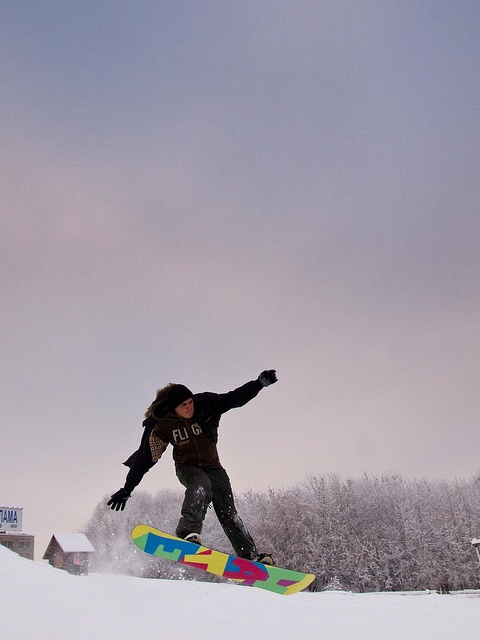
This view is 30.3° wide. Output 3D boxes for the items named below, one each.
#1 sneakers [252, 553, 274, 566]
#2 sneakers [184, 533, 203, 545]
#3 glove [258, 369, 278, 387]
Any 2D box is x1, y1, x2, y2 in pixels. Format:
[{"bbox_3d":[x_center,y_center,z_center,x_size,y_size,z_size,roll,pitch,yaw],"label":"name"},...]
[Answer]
[{"bbox_3d":[0.259,2.557,9.603,0.102,0.122,0.262,9,5,-19],"label":"sneakers"},{"bbox_3d":[-0.475,2.305,9.343,0.221,0.116,0.147,11,-14,-28],"label":"sneakers"},{"bbox_3d":[0.299,0.623,9.635,0.098,0.212,0.157,12,-11,-2],"label":"glove"}]
